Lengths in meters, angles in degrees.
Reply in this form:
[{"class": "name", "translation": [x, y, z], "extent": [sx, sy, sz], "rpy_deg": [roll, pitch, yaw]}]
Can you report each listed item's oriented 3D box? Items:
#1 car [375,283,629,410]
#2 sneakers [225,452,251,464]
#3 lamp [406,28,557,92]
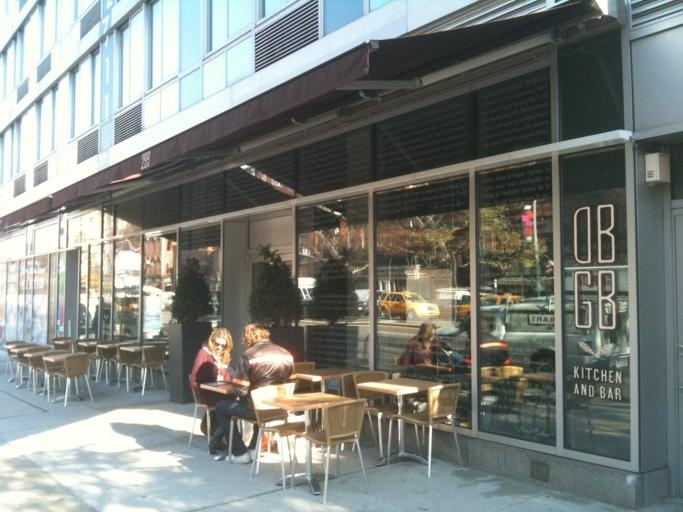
[{"class": "car", "translation": [2.166, 1.207, 9.523], "extent": [2.411, 1.367, 1.363], "rpy_deg": [-6, -5, 31]}, {"class": "sneakers", "translation": [-1.460, 2.832, 9.381], "extent": [0.338, 0.150, 0.138], "rpy_deg": [5, -13, -4]}, {"class": "lamp", "translation": [1.899, -2.728, 8.686], "extent": [2.081, 0.214, 0.302], "rpy_deg": [-17, 12, 43]}]
